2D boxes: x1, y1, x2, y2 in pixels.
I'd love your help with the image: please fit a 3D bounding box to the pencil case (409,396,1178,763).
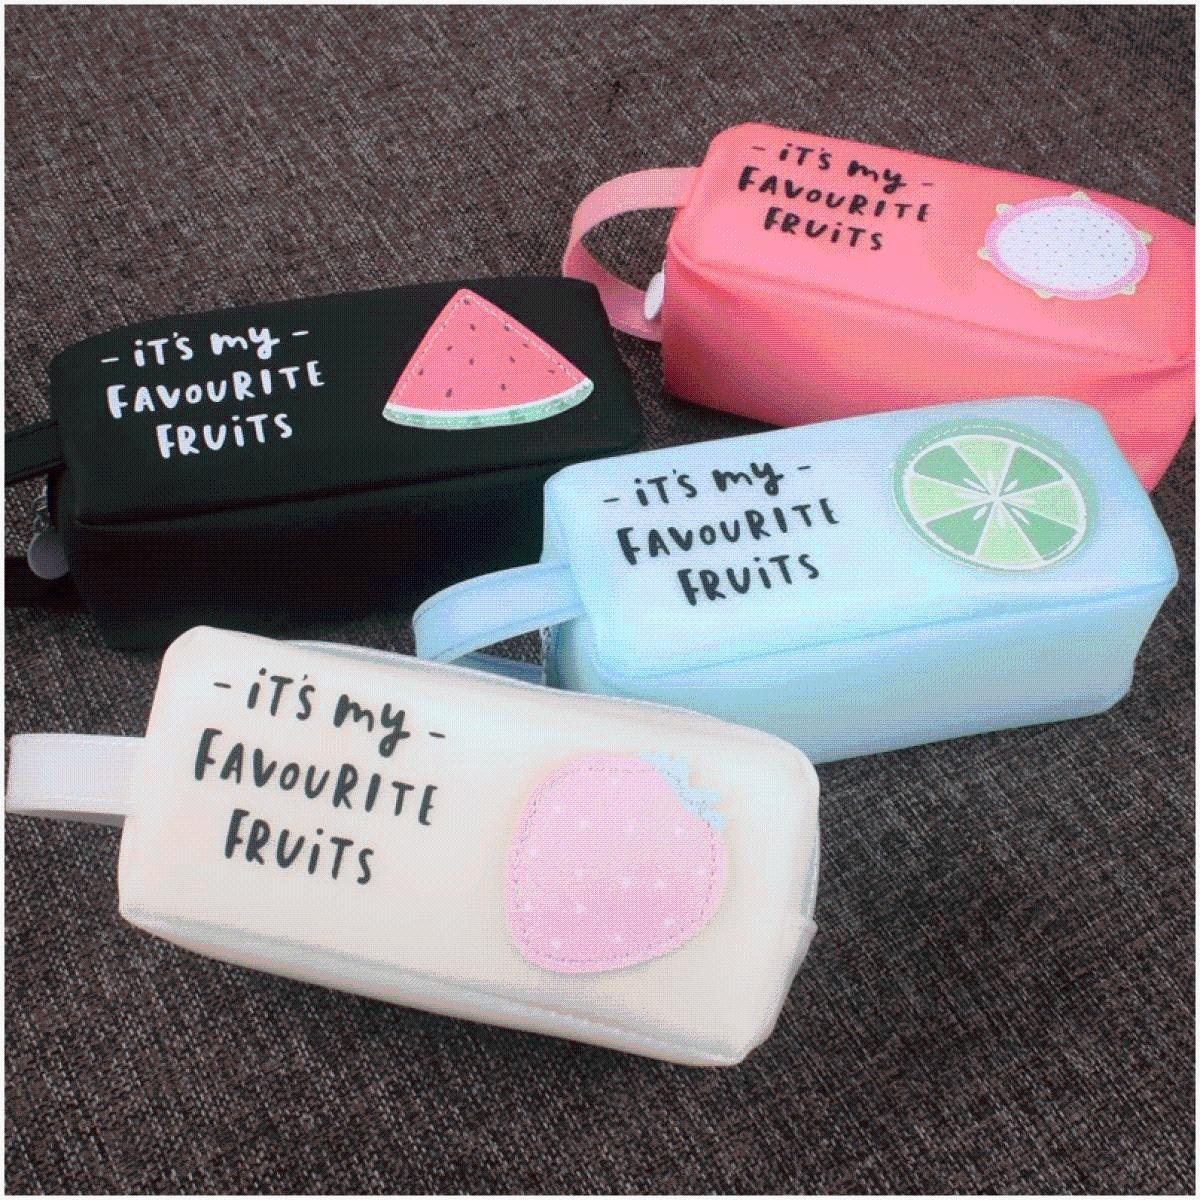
[{"bbox_3d":[0.129,-0.020,0.721,0.465,0.160,0.180,-9,52,-4],"label":"pencil case"}]
